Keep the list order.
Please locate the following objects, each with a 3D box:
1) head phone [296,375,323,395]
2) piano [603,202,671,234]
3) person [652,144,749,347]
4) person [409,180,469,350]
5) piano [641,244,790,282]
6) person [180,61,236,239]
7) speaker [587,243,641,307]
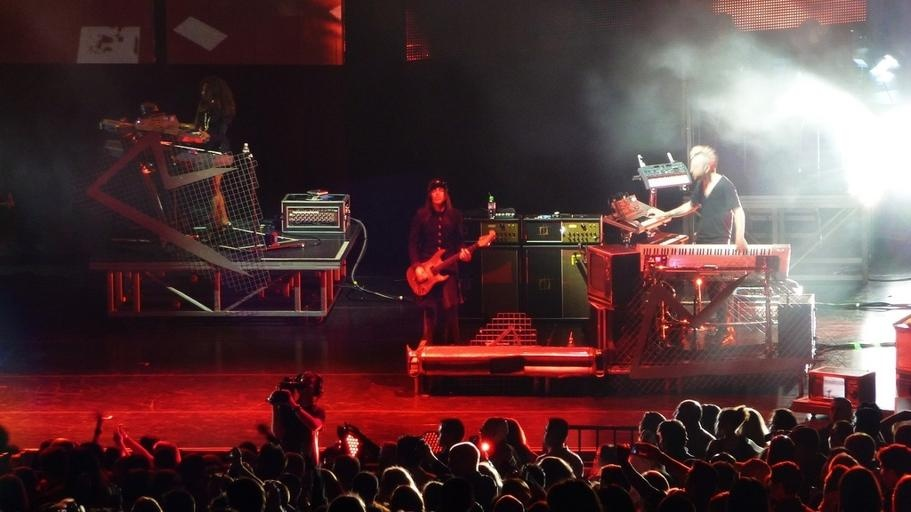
[{"bbox_3d":[-1.490,1.305,8.928,0.263,0.178,0.179,-8,9,-24],"label":"head phone"},{"bbox_3d":[2.291,-0.417,11.222,0.556,0.231,0.608,22,37,37],"label":"piano"},{"bbox_3d":[3.573,-0.296,11.866,1.275,2.902,1.102,3,1,37],"label":"person"},{"bbox_3d":[-0.245,0.040,11.687,1.076,2.029,0.930,0,1,-8],"label":"person"},{"bbox_3d":[3.137,0.065,10.422,1.502,0.365,0.419,0,2,-10],"label":"piano"},{"bbox_3d":[-3.657,-1.656,13.114,1.076,2.383,0.616,2,-4,-2],"label":"person"},{"bbox_3d":[1.906,0.253,10.647,0.340,0.778,0.737,3,-3,-44],"label":"speaker"}]
